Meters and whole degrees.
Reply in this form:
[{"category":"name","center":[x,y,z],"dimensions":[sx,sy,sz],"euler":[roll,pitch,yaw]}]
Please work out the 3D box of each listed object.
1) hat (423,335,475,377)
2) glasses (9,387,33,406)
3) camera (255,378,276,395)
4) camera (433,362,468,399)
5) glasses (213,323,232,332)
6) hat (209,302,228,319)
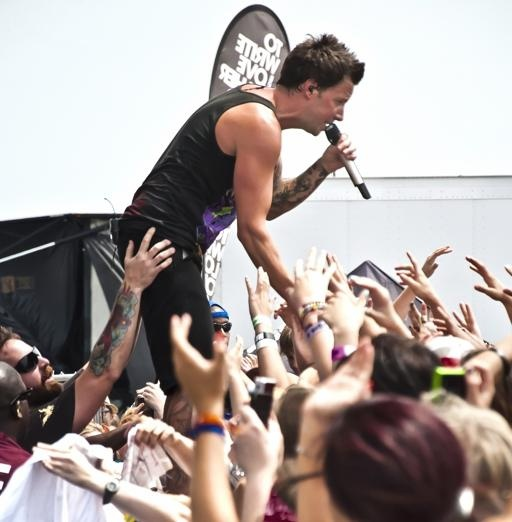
[{"category":"hat","center":[0.543,0.244,1.635],"dimensions":[0.113,0.084,0.169],"euler":[0,-11,1]},{"category":"glasses","center":[-0.787,0.461,1.980],"dimensions":[0.080,0.030,0.091],"euler":[-9,1,-7]},{"category":"camera","center":[0.022,0.282,1.284],"dimensions":[0.035,0.047,0.030],"euler":[4,-18,-10]},{"category":"camera","center":[0.389,0.241,1.197],"dimensions":[0.053,0.076,0.113],"euler":[-1,0,-2]},{"category":"glasses","center":[-0.199,0.415,3.655],"dimensions":[0.140,0.060,0.153],"euler":[-5,-7,32]},{"category":"hat","center":[-0.236,0.328,3.779],"dimensions":[0.129,0.135,0.198],"euler":[-2,1,-1]}]
